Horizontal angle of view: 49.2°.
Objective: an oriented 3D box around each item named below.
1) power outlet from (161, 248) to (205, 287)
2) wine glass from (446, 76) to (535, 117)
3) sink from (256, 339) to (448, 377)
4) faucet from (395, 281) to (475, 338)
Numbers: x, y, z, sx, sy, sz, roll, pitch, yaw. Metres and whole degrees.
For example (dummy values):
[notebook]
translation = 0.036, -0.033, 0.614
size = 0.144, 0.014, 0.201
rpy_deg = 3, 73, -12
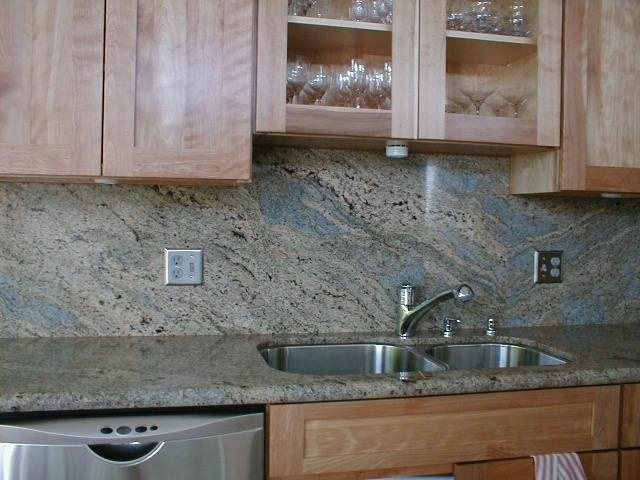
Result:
[power outlet]
translation = -0.471, 0.093, 2.398
size = 0.127, 0.079, 0.104
rpy_deg = -1, 55, -8
[wine glass]
translation = 0.574, -0.480, 2.377
size = 0.377, 0.065, 0.143
rpy_deg = 2, 77, -6
[sink]
translation = 0.017, 0.446, 2.506
size = 0.453, 0.365, 0.132
rpy_deg = 13, 68, -49
[faucet]
translation = 0.398, 0.233, 2.369
size = 0.109, 0.373, 0.179
rpy_deg = 1, 82, -31
